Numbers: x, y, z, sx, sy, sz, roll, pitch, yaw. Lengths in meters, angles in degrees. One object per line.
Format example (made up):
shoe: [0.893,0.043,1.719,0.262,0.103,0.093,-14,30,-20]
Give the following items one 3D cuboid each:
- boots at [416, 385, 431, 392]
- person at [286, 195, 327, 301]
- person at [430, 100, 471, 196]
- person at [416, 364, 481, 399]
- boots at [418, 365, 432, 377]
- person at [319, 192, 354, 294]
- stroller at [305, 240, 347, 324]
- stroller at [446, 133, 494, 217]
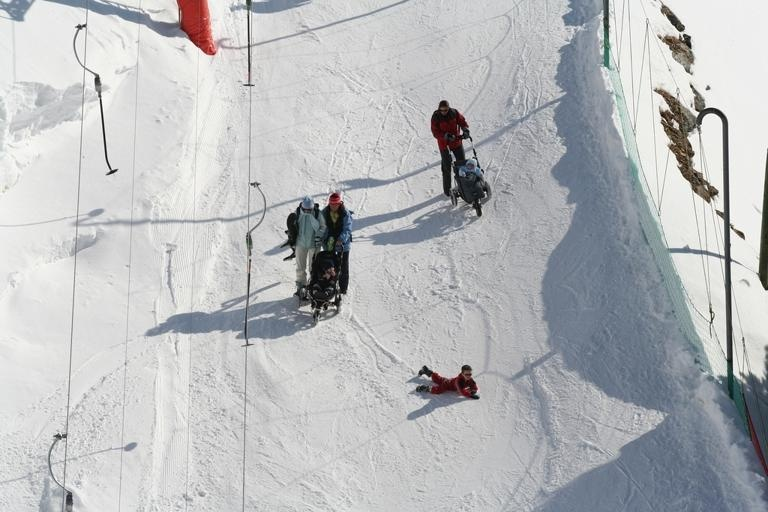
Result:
boots: [0.894,3.028,34.254,0.207,0.097,0.158,1,20,24]
person: [-1.844,-0.221,35.361,0.817,2.476,0.883,2,-1,-2]
person: [1.728,-2.727,37.089,0.882,2.486,0.924,-7,29,6]
person: [1.465,2.765,34.297,1.520,0.801,0.843,13,22,18]
boots: [0.959,2.606,34.411,0.226,0.108,0.246,5,22,13]
person: [-1.129,-0.343,35.360,0.712,2.342,0.701,3,-1,-9]
stroller: [-1.415,0.515,35.356,0.767,1.789,1.128,1,-6,0]
stroller: [2.070,-2.098,36.820,0.839,1.779,1.385,-13,22,-4]
